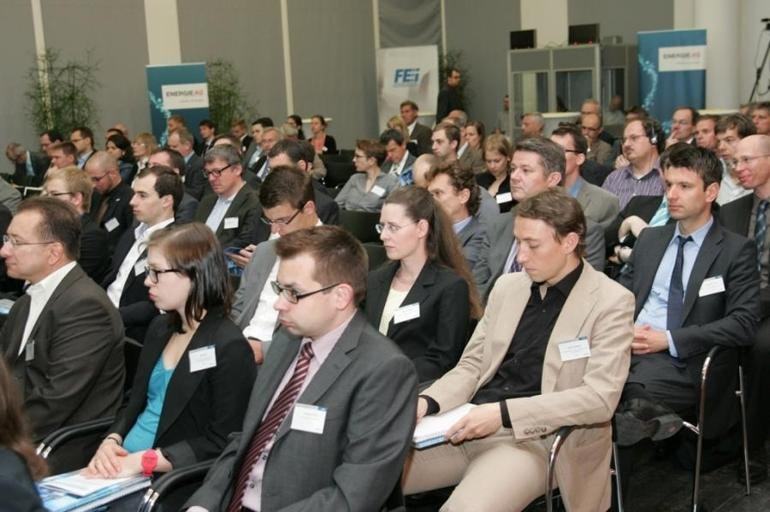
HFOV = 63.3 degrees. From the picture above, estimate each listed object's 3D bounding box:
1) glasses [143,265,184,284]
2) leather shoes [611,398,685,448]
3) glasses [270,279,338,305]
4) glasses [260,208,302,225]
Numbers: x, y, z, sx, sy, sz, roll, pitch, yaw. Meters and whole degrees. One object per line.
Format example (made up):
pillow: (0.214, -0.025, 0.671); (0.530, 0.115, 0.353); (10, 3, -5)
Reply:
glasses: (-1.127, 0.086, 3.134); (0.223, 0.086, 0.062); (-2, 12, 22)
leather shoes: (1.353, 0.847, 3.219); (0.348, 0.239, 0.150); (-7, 11, -6)
glasses: (-0.379, 0.143, 2.714); (0.331, 0.092, 0.133); (-1, 12, 27)
glasses: (-0.714, -0.280, 4.341); (0.166, 0.050, 0.172); (-1, 26, 38)
